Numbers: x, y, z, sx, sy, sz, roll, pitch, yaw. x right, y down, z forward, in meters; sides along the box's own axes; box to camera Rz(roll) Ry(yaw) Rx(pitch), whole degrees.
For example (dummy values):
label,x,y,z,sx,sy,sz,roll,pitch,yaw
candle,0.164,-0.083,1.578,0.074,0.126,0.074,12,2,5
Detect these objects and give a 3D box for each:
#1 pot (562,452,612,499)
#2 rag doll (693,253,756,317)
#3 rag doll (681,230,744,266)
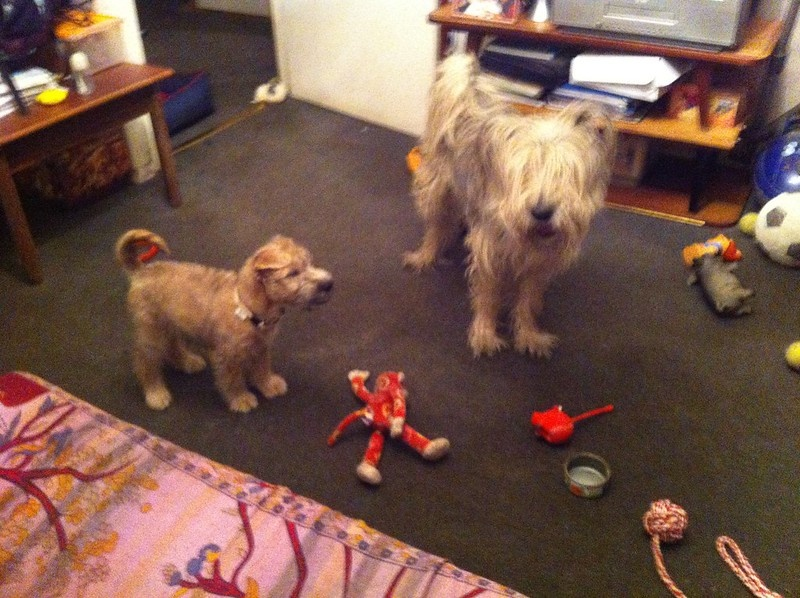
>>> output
label,x,y,z,sx,sy,sz,roll,pitch,yaw
pot,0.794,0.744,2.747,0.200,0.094,0.167,15,42,15
rag doll,1.712,-0.058,3.453,0.243,0.116,0.325,-31,52,22
rag doll,1.696,-0.267,3.547,0.235,0.115,0.179,-13,22,-5
